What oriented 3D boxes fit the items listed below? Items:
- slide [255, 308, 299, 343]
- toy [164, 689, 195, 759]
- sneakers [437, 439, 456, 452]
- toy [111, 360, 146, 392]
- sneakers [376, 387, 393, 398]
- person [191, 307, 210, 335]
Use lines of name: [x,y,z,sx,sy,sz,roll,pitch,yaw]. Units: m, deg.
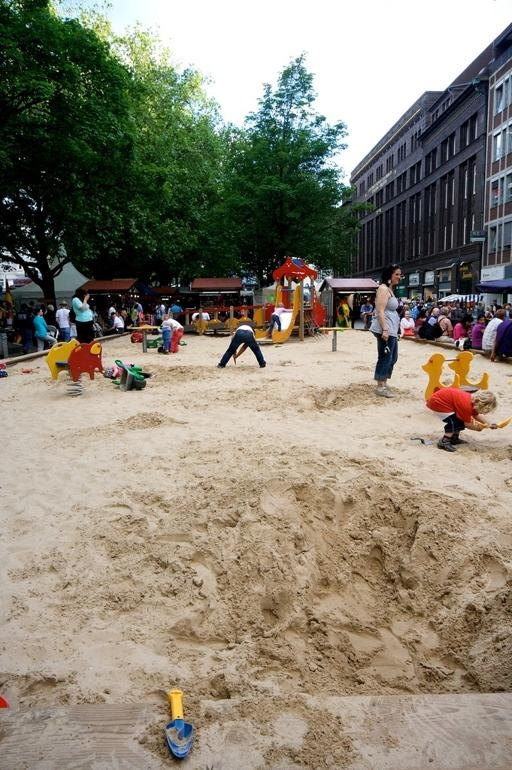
slide: [0.803,-2.086,21.014,1.309,1.266,2.169,-3,10,1]
toy: [-0.322,1.458,2.578,0.081,0.058,0.340,4,-4,-6]
sneakers: [1.869,0.588,5.880,0.223,0.100,0.083,0,12,-45]
toy: [-2.103,-0.175,10.312,0.529,0.462,0.667,-7,11,-19]
sneakers: [1.872,0.110,8.587,0.283,0.133,0.101,15,9,12]
person: [-2.414,-2.826,26.730,0.741,1.146,2.887,-4,10,-6]
